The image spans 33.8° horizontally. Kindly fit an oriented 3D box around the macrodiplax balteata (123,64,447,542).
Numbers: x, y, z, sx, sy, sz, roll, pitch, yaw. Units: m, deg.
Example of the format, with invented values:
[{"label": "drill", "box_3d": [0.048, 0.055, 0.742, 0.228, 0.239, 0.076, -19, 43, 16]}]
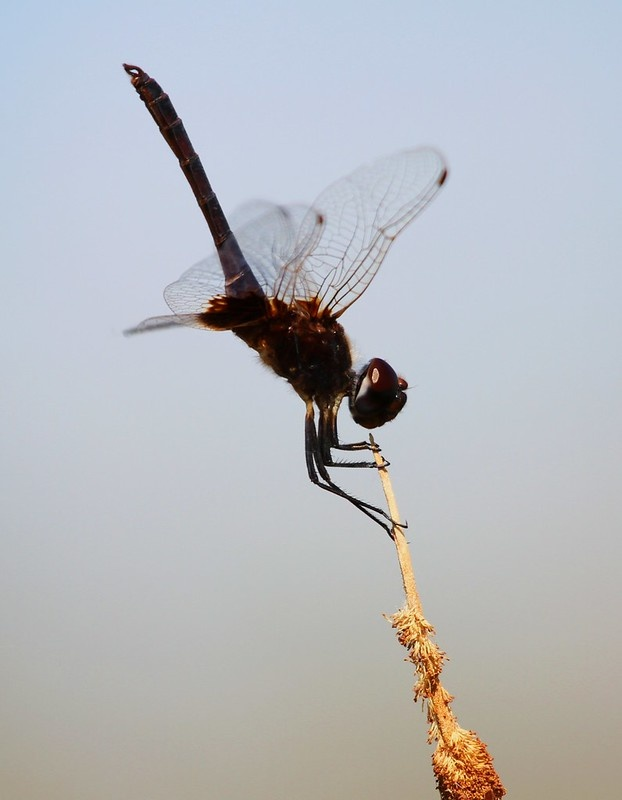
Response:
[{"label": "macrodiplax balteata", "box_3d": [-0.037, -0.146, 1.598, 0.488, 0.731, 0.422, 5, -54, -17]}]
